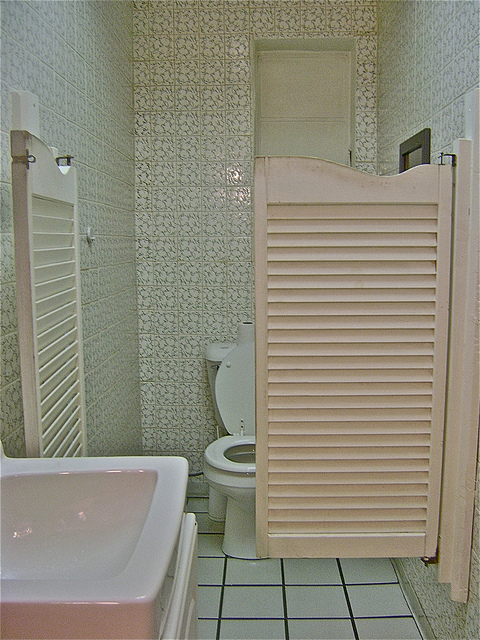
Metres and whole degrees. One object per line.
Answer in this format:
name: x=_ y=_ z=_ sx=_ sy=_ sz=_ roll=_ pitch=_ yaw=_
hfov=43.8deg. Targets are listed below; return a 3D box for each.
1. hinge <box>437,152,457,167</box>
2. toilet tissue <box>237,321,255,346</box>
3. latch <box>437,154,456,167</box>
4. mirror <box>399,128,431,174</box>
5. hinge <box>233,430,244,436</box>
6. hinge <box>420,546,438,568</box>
hinge: x=0.482 y=-0.369 z=1.391 sx=0.032 sy=0.050 sz=0.031 roll=1 pitch=3 yaw=8
toilet tissue: x=0.023 y=0.052 z=2.398 sx=0.072 sy=0.099 sz=0.079 roll=0 pitch=8 yaw=-12
latch: x=0.486 y=-0.367 z=1.380 sx=0.030 sy=0.032 sz=0.022 roll=5 pitch=9 yaw=15
mirror: x=0.532 y=-0.481 z=1.818 sx=0.010 sy=0.158 sz=0.142 roll=-11 pitch=2 yaw=-17
hinge: x=-0.006 y=0.465 z=2.438 sx=0.041 sy=0.034 sz=0.016 roll=1 pitch=-6 yaw=3
hinge: x=0.479 y=0.611 z=1.521 sx=0.030 sy=0.027 sz=0.046 roll=-1 pitch=-12 yaw=-1
